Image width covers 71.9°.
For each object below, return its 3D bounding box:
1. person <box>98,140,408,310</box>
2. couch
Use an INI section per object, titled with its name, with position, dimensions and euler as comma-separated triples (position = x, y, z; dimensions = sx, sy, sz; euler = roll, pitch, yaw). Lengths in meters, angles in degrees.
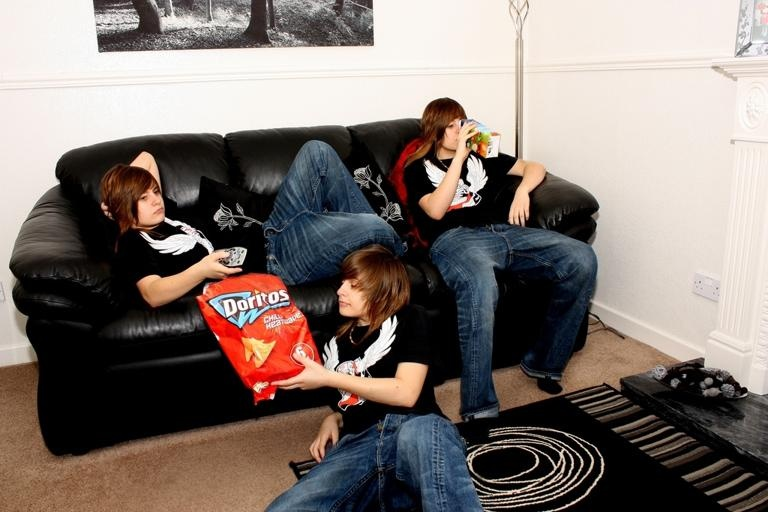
[person]
position = -0.598, -0.016, 2.623
dimensions = 1.177, 0.515, 0.860
euler = -7, 29, -1
[couch]
position = -0.387, 0.000, 2.988
dimensions = 2.920, 1.188, 1.107
euler = -10, 30, -17
